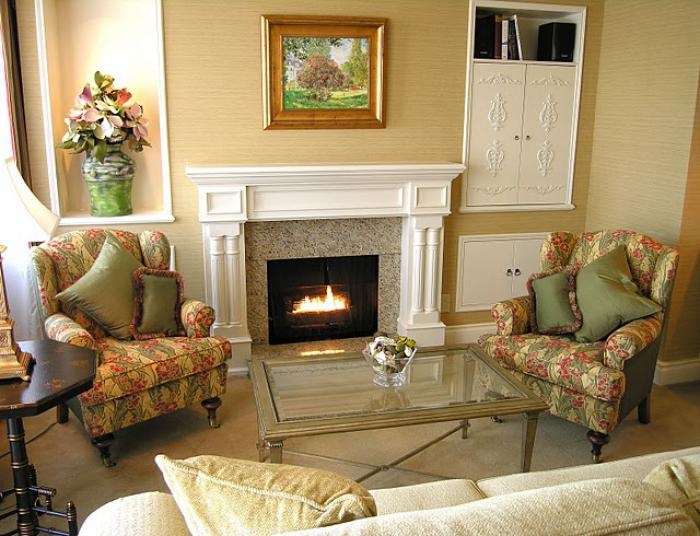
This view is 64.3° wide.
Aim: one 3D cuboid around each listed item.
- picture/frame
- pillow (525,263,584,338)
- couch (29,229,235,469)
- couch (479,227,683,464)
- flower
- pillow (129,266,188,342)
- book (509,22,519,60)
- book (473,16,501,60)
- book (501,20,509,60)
[{"bbox_3d":[-0.180,-1.455,4.196,1.141,0.820,0.069,12,24,30],"label":"picture/frame"},{"bbox_3d":[1.322,0.220,3.586,0.433,0.358,0.127,-8,-20,42],"label":"pillow"},{"bbox_3d":[-1.236,0.328,3.941,1.377,1.445,1.505,-12,23,-41],"label":"couch"},{"bbox_3d":[1.325,0.356,4.071,1.588,1.546,1.471,-7,10,-40],"label":"couch"},{"bbox_3d":[-1.723,-1.057,3.863,0.571,0.592,0.261,-6,17,-16],"label":"flower"},{"bbox_3d":[-1.208,0.223,3.495,0.386,0.389,0.134,4,-15,-39],"label":"pillow"},{"bbox_3d":[1.305,-1.817,4.424,0.046,0.283,0.236,3,25,19],"label":"book"},{"bbox_3d":[1.099,-1.816,4.399,0.213,0.327,0.103,1,17,10],"label":"book"},{"bbox_3d":[1.238,-1.811,4.416,0.068,0.288,0.030,-14,21,-33],"label":"book"}]
